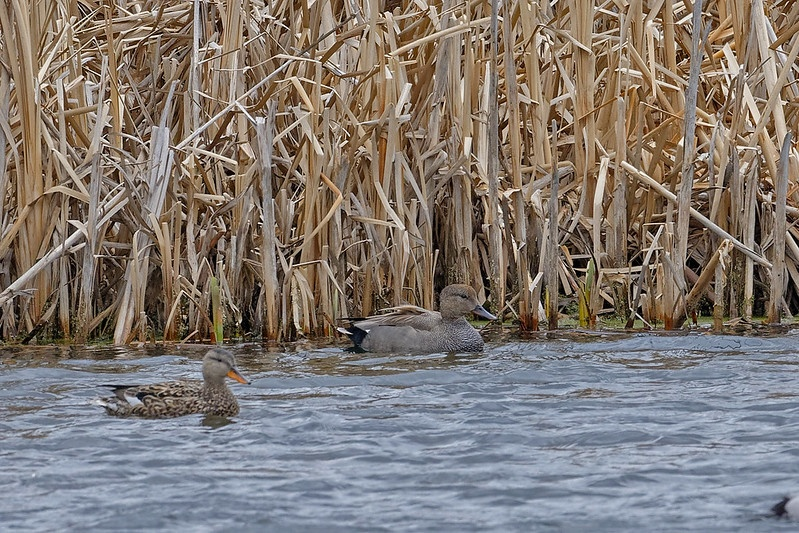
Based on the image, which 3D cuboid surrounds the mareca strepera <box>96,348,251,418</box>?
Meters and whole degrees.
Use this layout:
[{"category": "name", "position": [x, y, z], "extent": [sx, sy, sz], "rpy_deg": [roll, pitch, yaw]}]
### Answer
[{"category": "mareca strepera", "position": [-1.739, 0.966, 7.658], "extent": [1.147, 0.705, 0.581], "rpy_deg": [1, -8, 14]}]

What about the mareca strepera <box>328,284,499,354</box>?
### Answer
[{"category": "mareca strepera", "position": [0.167, 0.501, 9.571], "extent": [1.372, 0.775, 0.624], "rpy_deg": [2, 7, 5]}]
